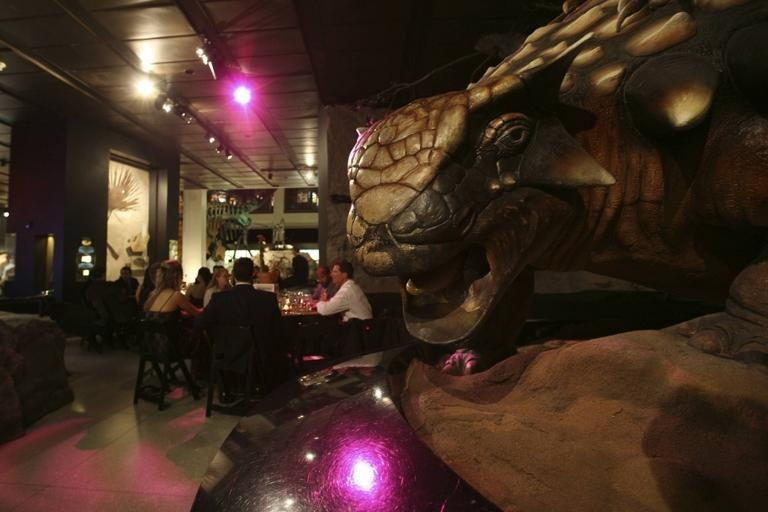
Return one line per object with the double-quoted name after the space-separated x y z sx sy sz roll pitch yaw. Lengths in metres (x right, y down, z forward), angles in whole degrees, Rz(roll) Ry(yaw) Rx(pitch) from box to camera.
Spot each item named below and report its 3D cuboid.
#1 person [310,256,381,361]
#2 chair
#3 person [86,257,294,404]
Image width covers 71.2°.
-0.250 0.418 4.013 0.619 1.033 0.490 1 -12 -1 "person"
-0.969 0.679 3.763 1.141 0.492 1.274 -2 -1 39 "chair"
-1.330 0.511 4.130 1.468 1.032 0.940 -2 2 15 "person"
